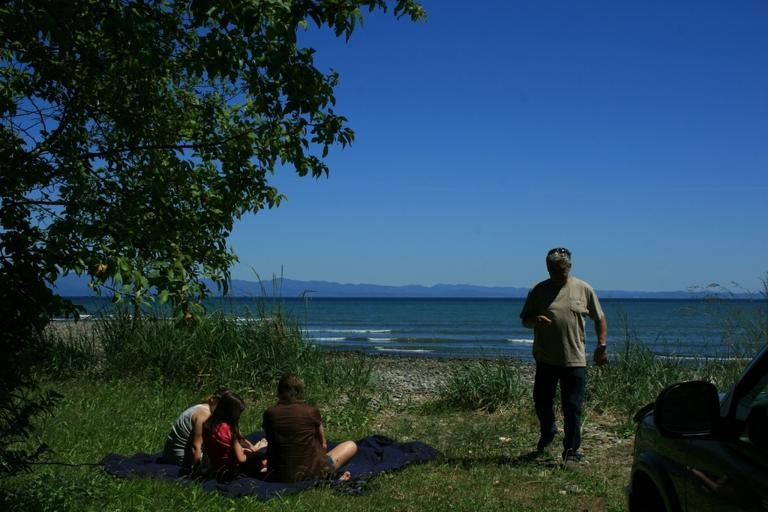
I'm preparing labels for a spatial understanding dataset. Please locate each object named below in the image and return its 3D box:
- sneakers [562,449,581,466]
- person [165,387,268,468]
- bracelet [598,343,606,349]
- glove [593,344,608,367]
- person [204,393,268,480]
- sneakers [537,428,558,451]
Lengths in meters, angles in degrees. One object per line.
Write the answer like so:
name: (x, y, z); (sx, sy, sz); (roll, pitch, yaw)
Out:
sneakers: (2.593, 2.817, 10.208); (0.171, 0.243, 0.243); (1, -16, -7)
person: (-2.164, 2.431, 9.968); (1.484, 1.214, 0.732); (3, 11, 0)
bracelet: (3.055, 1.270, 10.246); (0.094, 0.062, 0.086); (5, -10, -22)
glove: (3.053, 1.406, 10.314); (0.101, 0.327, 0.236); (2, 33, 10)
person: (-1.977, 2.347, 9.633); (0.802, 1.175, 0.373); (3, 4, -20)
sneakers: (2.406, 2.758, 10.775); (0.128, 0.258, 0.471); (18, -23, -8)
